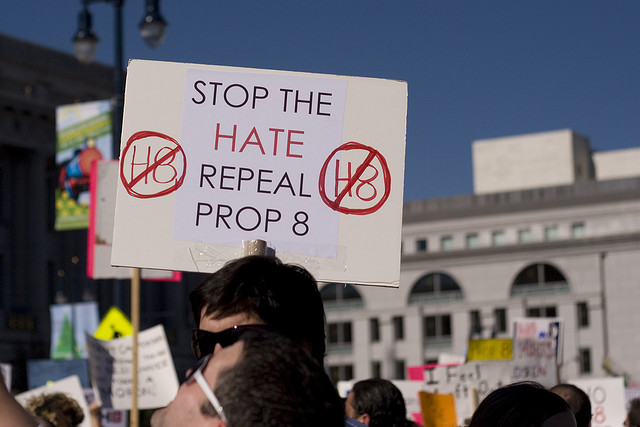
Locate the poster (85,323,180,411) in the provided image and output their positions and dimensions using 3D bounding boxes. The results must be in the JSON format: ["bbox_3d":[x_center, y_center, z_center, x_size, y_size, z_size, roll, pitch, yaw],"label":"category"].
[{"bbox_3d":[-3.091,2.498,24.680,1.600,1.542,0.119,-14,-6,-8],"label":"poster"}]

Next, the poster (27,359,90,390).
[{"bbox_3d":[-4.575,2.794,26.488,0.700,0.552,0.873,0,-5,-44],"label":"poster"}]

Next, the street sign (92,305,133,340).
[{"bbox_3d":[-3.458,1.867,25.487,0.550,0.553,0.144,37,5,13],"label":"street sign"}]
